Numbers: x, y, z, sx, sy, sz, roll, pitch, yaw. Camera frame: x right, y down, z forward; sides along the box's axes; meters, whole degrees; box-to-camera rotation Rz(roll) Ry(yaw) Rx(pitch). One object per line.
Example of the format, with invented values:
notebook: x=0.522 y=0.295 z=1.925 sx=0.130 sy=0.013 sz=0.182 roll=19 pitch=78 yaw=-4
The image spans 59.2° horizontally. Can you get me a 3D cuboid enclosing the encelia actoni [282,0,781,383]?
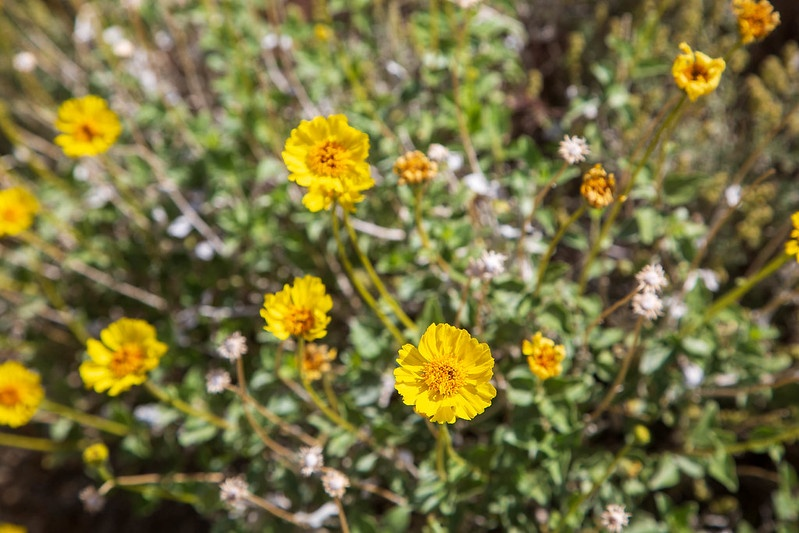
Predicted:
encelia actoni: x=0.631 y=-0.271 z=3.548 sx=1.887 sy=0.844 sz=1.814 roll=2 pitch=52 yaw=5

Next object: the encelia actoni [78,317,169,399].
encelia actoni: x=-1.231 y=0.416 z=3.181 sx=0.384 sy=0.143 sz=0.386 roll=-24 pitch=47 yaw=-15

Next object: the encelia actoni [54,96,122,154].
encelia actoni: x=-1.454 y=-0.688 z=3.311 sx=0.254 sy=0.271 sz=0.112 roll=-36 pitch=67 yaw=29

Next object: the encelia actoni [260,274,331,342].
encelia actoni: x=-0.412 y=0.185 z=3.079 sx=0.251 sy=0.107 sz=0.259 roll=14 pitch=21 yaw=-2

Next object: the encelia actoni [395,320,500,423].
encelia actoni: x=0.218 y=0.577 z=3.290 sx=0.411 sy=0.954 sz=0.382 roll=-6 pitch=69 yaw=3
